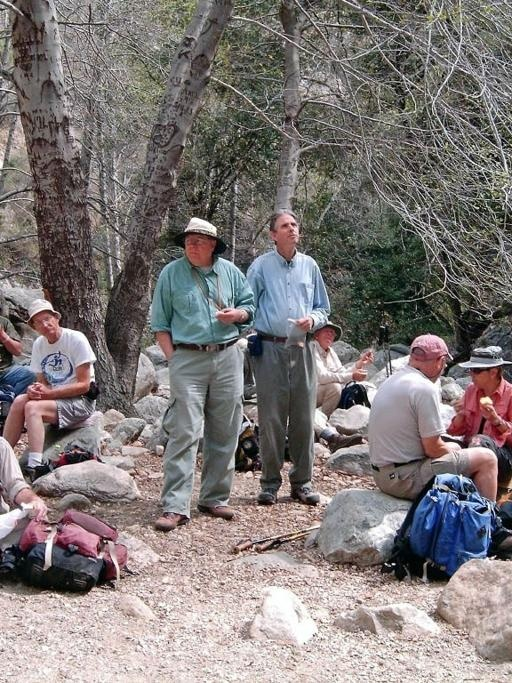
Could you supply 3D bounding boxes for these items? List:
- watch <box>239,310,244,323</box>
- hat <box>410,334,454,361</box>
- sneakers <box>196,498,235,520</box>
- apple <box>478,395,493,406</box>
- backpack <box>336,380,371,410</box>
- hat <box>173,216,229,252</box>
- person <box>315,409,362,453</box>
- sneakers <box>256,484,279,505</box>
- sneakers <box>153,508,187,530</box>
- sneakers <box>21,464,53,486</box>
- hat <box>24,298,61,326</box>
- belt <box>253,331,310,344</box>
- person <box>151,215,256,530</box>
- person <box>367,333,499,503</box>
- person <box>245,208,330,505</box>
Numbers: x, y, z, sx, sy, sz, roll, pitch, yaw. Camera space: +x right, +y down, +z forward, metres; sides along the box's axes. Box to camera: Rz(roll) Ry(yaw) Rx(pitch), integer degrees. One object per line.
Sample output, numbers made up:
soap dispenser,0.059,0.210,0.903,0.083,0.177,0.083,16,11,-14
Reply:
watch,-0.089,-0.162,4.590,0.025,0.057,0.046,9,1,-7
hat,1.048,0.032,4.212,0.219,0.114,0.151,-1,8,-41
sneakers,-0.266,1.135,4.805,0.273,0.100,0.094,2,3,25
apple,1.466,0.379,4.517,0.076,0.027,0.070,5,9,26
backpack,0.994,0.573,7.373,0.267,0.305,0.475,1,-3,-42
hat,-0.340,-0.724,4.631,0.305,0.139,0.295,1,-21,26
person,0.759,0.882,6.831,0.264,0.324,0.786,-16,6,-30
sneakers,0.083,1.108,5.095,0.099,0.108,0.258,-1,-16,8
sneakers,-0.548,1.126,4.412,0.087,0.095,0.249,0,-13,31
sneakers,-1.625,0.965,5.203,0.117,0.126,0.321,2,4,0
hat,-1.647,-0.259,5.349,0.215,0.127,0.256,-21,-10,-20
belt,0.161,-0.021,4.887,0.167,0.055,0.168,1,-9,-44
person,-0.338,0.198,4.602,0.707,1.982,0.419,1,4,-28
person,1.085,0.519,4.382,0.858,1.052,0.727,-3,7,-14
person,0.289,0.136,5.055,0.771,2.015,0.719,-3,4,-33
